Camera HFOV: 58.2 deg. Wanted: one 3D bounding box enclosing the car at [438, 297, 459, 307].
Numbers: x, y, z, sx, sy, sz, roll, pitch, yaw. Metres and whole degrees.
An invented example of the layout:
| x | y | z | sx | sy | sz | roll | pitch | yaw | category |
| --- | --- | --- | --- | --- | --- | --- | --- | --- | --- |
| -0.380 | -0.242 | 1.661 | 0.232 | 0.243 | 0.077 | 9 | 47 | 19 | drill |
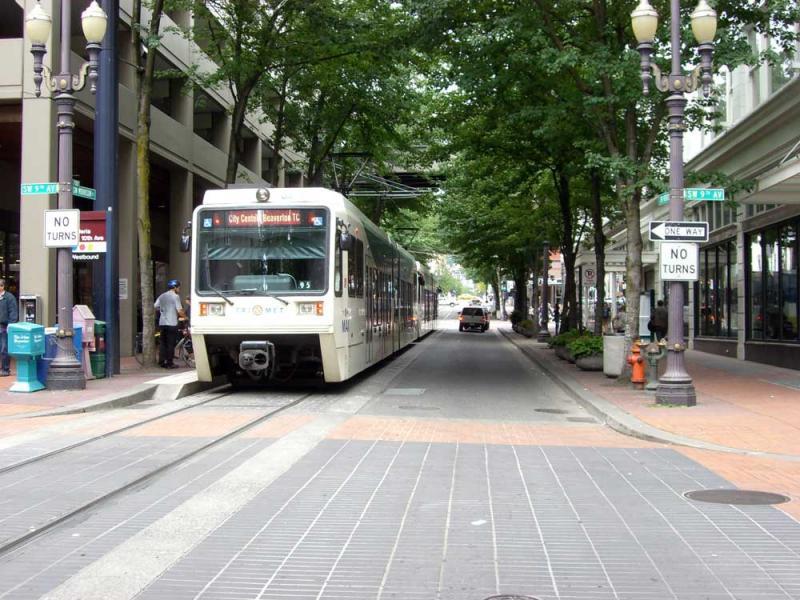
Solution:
| x | y | z | sx | sy | sz | roll | pitch | yaw | category |
| --- | --- | --- | --- | --- | --- | --- | --- | --- | --- |
| 12.237 | -0.013 | 179.399 | 4.677 | 1.793 | 2.213 | -3 | 1 | 9 | car |

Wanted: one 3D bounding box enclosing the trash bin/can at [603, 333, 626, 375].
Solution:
| x | y | z | sx | sy | sz | roll | pitch | yaw | category |
| --- | --- | --- | --- | --- | --- | --- | --- | --- | --- |
| 5.219 | 1.312 | 17.616 | 0.504 | 1.023 | 0.496 | 1 | 1 | 25 | trash bin/can |

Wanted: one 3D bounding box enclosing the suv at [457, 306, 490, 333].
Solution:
| x | y | z | sx | sy | sz | roll | pitch | yaw | category |
| --- | --- | --- | --- | --- | --- | --- | --- | --- | --- |
| 5.221 | 1.142 | 51.393 | 1.868 | 1.811 | 2.048 | 1 | 1 | 14 | suv |
